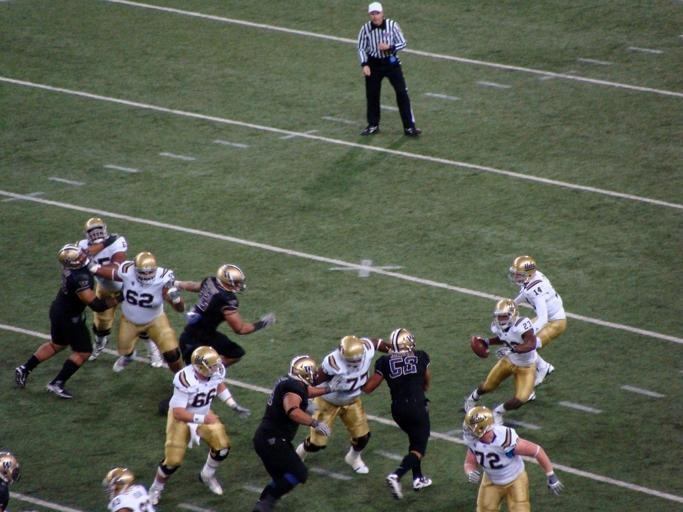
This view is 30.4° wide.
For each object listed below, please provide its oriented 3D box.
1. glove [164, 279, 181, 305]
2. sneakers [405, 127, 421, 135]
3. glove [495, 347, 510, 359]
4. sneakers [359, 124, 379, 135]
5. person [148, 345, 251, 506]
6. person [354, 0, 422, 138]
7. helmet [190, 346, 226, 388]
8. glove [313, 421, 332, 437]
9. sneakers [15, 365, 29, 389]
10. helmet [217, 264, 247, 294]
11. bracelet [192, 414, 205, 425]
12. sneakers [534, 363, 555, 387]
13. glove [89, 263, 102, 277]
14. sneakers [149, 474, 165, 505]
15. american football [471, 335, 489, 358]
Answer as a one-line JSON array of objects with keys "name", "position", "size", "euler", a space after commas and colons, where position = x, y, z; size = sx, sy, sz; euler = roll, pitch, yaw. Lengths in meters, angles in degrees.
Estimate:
[{"name": "glove", "position": [-1.941, 0.414, 14.330], "size": [0.180, 0.107, 0.257], "euler": [16, 31, -43]}, {"name": "sneakers", "position": [1.075, -1.857, 18.813], "size": [0.251, 0.094, 0.086], "euler": [3, 52, 14]}, {"name": "glove", "position": [1.842, 1.106, 14.257], "size": [0.145, 0.178, 0.198], "euler": [9, 14, 4]}, {"name": "sneakers", "position": [0.425, -1.882, 18.927], "size": [0.314, 0.186, 0.094], "euler": [-1, 58, -1]}, {"name": "person", "position": [-1.546, 1.826, 13.408], "size": [0.857, 1.761, 0.579], "euler": [5, 15, -15]}, {"name": "person", "position": [0.685, -2.694, 18.519], "size": [0.990, 1.971, 0.559], "euler": [3, 16, -23]}, {"name": "helmet", "position": [-1.442, 1.141, 13.314], "size": [0.463, 0.311, 0.306], "euler": [6, 13, 10]}, {"name": "glove", "position": [-0.186, 1.817, 13.218], "size": [0.203, 0.143, 0.062], "euler": [32, 29, -17]}, {"name": "sneakers", "position": [-3.734, 1.407, 14.680], "size": [0.162, 0.292, 0.130], "euler": [-6, 13, -21]}, {"name": "helmet", "position": [-1.222, 0.252, 14.121], "size": [0.369, 0.261, 0.267], "euler": [19, 20, -12]}, {"name": "bracelet", "position": [-1.500, 1.712, 13.170], "size": [0.122, 0.085, 0.090], "euler": [5, 14, -9]}, {"name": "sneakers", "position": [2.319, 1.370, 14.536], "size": [0.150, 0.163, 0.427], "euler": [-4, 12, 32]}, {"name": "glove", "position": [-2.877, 0.169, 14.652], "size": [0.106, 0.098, 0.128], "euler": [37, -28, -6]}, {"name": "sneakers", "position": [-1.970, 2.507, 13.411], "size": [0.152, 0.335, 0.263], "euler": [19, -35, -39]}, {"name": "american football", "position": [1.576, 1.030, 14.313], "size": [0.236, 0.085, 0.230], "euler": [43, 4, -36]}]
